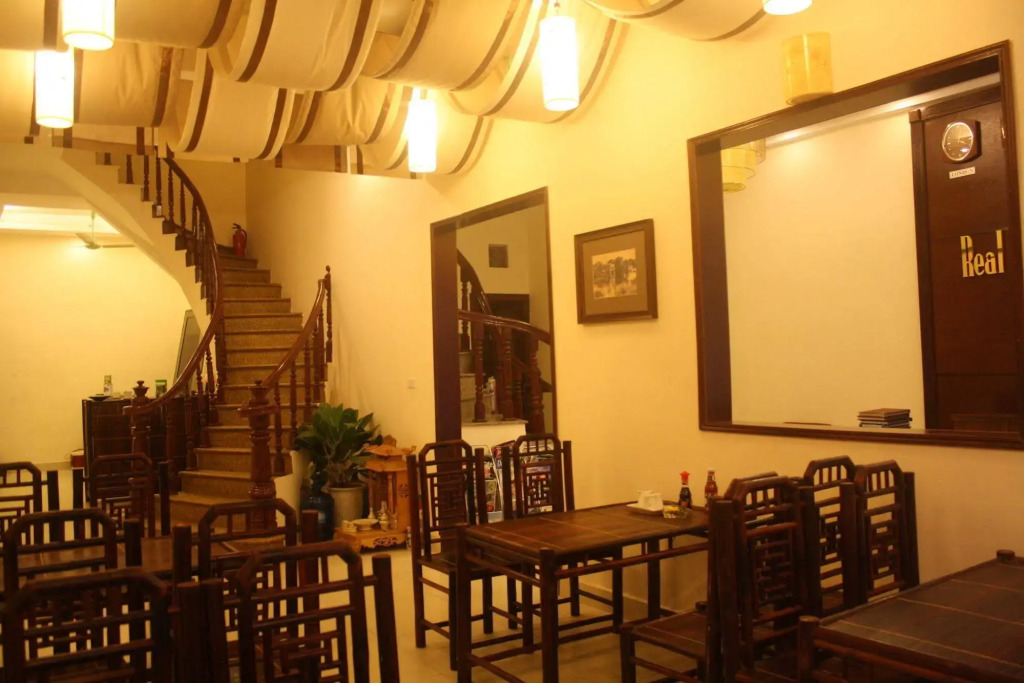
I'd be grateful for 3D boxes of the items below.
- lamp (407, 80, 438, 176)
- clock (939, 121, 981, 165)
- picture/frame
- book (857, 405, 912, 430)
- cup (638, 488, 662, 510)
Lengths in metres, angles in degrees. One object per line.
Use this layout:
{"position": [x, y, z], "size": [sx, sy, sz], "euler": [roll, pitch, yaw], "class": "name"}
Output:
{"position": [-0.616, -1.438, 5.287], "size": [0.186, 0.528, 0.340], "euler": [-2, -6, -10], "class": "lamp"}
{"position": [3.284, -1.463, 5.629], "size": [0.043, 0.380, 0.322], "euler": [-8, 11, -35], "class": "clock"}
{"position": [0.746, -0.484, 5.269], "size": [0.075, 0.702, 0.733], "euler": [0, -2, -41], "class": "picture/frame"}
{"position": [2.047, 0.406, 4.320], "size": [0.172, 0.072, 0.213], "euler": [1, 2, -20], "class": "book"}
{"position": [0.861, 0.979, 4.761], "size": [0.133, 0.115, 0.085], "euler": [-3, -8, 23], "class": "cup"}
